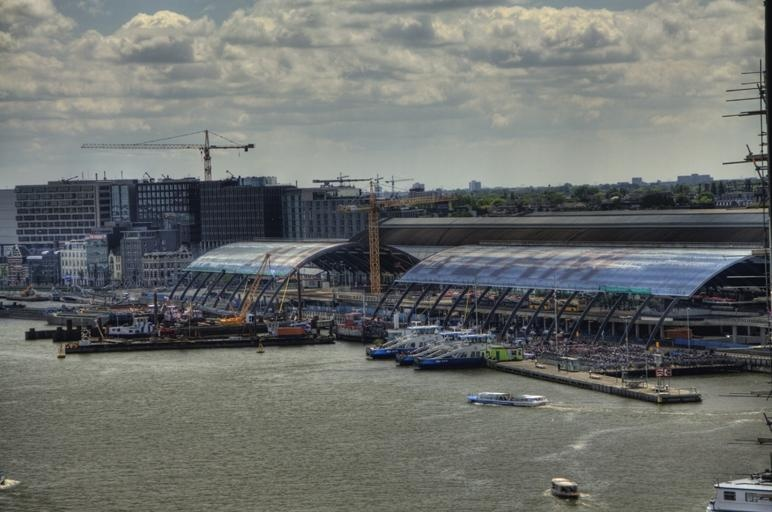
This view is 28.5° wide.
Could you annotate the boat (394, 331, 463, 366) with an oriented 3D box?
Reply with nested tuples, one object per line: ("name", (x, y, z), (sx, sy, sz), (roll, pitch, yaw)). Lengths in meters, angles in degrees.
("boat", (3.018, 6.418, 108.029), (3.761, 2.671, 6.339), (7, 1, -6))

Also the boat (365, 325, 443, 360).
("boat", (1.510, 6.149, 110.459), (5.866, 1.844, 2.213), (-11, 4, -1))

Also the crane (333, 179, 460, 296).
("crane", (0.520, -1.536, 149.113), (16.339, 14.207, 2.175), (1, 7, 32))
